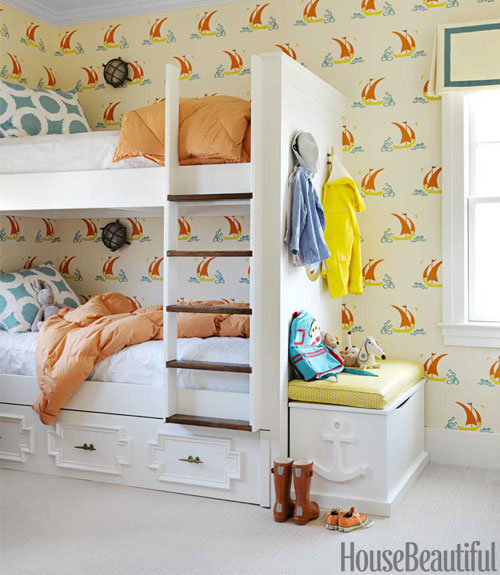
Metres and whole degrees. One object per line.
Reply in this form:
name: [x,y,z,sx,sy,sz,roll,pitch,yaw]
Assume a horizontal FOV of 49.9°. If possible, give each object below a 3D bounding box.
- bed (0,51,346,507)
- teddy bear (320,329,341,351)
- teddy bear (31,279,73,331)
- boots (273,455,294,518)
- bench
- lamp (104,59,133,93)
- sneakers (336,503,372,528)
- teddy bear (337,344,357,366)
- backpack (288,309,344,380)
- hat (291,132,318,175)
bed: [-0.599,-0.082,3.185,2.061,2.162,1.256,0,-1,24]
teddy bear: [0.436,0.286,2.947,0.086,0.115,0.107,-40,-20,8]
teddy bear: [-1.286,0.117,3.448,0.218,0.274,0.187,-30,1,-42]
boots: [0.139,0.858,2.342,0.091,0.248,0.173,0,-1,4]
bench: [0.581,0.729,2.830,0.547,0.568,0.917,-5,-1,28]
lamp: [-0.953,-1.553,3.952,0.206,0.198,0.053,24,11,31]
sneakers: [0.425,0.938,2.221,0.069,0.052,0.122,0,1,37]
teddy bear: [0.519,0.358,2.884,0.078,0.112,0.115,5,-10,-29]
backpack: [0.325,0.287,2.650,0.188,0.337,0.324,1,6,33]
hat: [0.264,-0.645,2.561,0.089,0.200,0.164,-1,-1,39]
